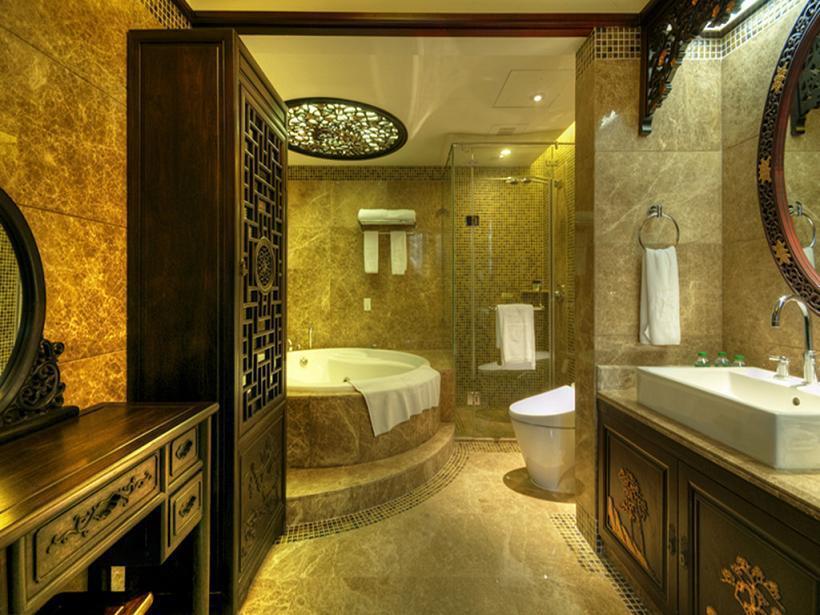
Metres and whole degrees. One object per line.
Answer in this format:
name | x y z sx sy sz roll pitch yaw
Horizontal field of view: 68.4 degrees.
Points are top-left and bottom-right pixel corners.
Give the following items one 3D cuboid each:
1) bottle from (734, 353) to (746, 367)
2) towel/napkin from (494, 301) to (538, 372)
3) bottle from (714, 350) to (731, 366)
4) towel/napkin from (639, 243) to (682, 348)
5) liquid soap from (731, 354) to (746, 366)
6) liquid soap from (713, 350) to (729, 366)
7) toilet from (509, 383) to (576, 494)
bottle | 1.579 0.253 2.888 0.054 0.056 0.057 3 1 35
towel/napkin | 0.850 0.229 4.832 0.339 0.507 0.172 1 12 3
bottle | 1.536 0.247 2.961 0.064 0.124 0.064 1 -4 0
towel/napkin | 1.257 -0.057 3.020 0.184 0.474 0.135 2 12 8
liquid soap | 1.574 0.252 2.910 0.063 0.065 0.063 1 5 -34
liquid soap | 1.517 0.240 2.928 0.051 0.072 0.140 8 15 30
toilet | 0.818 0.834 3.805 0.582 0.619 0.483 0 -2 5
